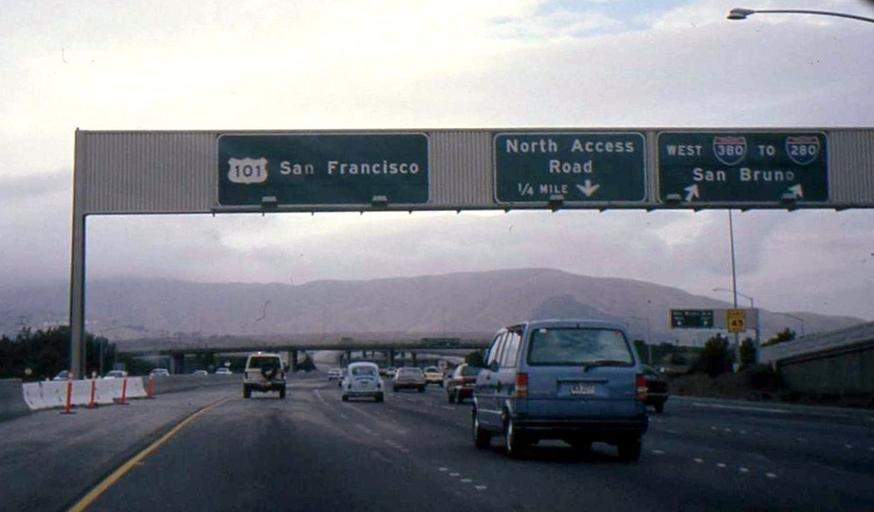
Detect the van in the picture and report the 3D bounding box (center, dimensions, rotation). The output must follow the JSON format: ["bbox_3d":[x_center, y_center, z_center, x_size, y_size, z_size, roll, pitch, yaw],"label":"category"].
[{"bbox_3d":[3.495,4.388,31.867,4.191,3.186,6.530,1,-5,-8],"label":"van"}]

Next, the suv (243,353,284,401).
[{"bbox_3d":[-10.918,7.443,59.560,2.438,2.687,3.410,-1,-3,-14],"label":"suv"}]
